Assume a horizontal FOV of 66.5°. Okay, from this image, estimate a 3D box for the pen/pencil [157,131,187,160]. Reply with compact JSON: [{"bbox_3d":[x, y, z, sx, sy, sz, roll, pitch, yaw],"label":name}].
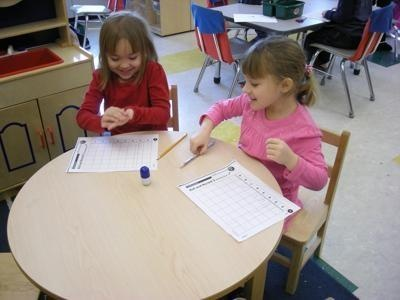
[{"bbox_3d":[-0.132,-0.016,1.419,0.022,0.022,0.210,51,49,-4],"label":"pen/pencil"}]
